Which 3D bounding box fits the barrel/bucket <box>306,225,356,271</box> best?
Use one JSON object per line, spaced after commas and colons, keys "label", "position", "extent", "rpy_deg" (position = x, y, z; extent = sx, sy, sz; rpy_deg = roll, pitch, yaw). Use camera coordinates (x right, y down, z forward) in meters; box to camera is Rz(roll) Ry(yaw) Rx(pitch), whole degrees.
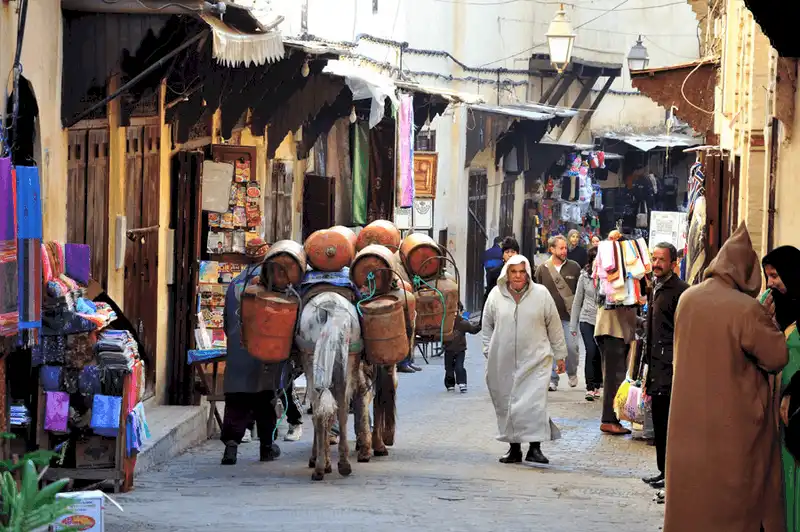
{"label": "barrel/bucket", "position": [-0.676, -0.168, 10.349], "extent": [0.403, 0.441, 0.653], "rpy_deg": [-6, 2, -5]}

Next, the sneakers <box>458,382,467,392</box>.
{"label": "sneakers", "position": [0.948, 1.836, 15.652], "extent": [0.101, 0.160, 0.335], "rpy_deg": [0, 4, 2]}

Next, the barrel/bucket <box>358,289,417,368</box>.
{"label": "barrel/bucket", "position": [-0.182, 0.572, 10.277], "extent": [0.580, 1.014, 0.580], "rpy_deg": [-9, 1, 0]}

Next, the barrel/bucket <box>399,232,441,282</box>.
{"label": "barrel/bucket", "position": [0.193, -0.167, 11.265], "extent": [0.397, 0.471, 0.667], "rpy_deg": [-6, 23, -9]}

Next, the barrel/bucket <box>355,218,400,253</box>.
{"label": "barrel/bucket", "position": [-0.226, -0.330, 11.138], "extent": [0.328, 0.400, 0.398], "rpy_deg": [9, 6, -7]}

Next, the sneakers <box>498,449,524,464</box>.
{"label": "sneakers", "position": [1.181, 2.018, 11.027], "extent": [0.246, 0.287, 0.123], "rpy_deg": [3, -2, -4]}

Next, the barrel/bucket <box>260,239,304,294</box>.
{"label": "barrel/bucket", "position": [-1.132, -0.014, 10.087], "extent": [0.377, 0.452, 0.458], "rpy_deg": [8, 8, 0]}

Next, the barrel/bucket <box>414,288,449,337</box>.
{"label": "barrel/bucket", "position": [0.348, 0.510, 11.291], "extent": [0.427, 0.791, 0.430], "rpy_deg": [0, -2, 0]}

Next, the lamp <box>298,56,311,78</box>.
{"label": "lamp", "position": [-1.296, -2.665, 13.888], "extent": [0.123, 0.121, 0.165], "rpy_deg": [-40, -25, -22]}

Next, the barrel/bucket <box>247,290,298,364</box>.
{"label": "barrel/bucket", "position": [-1.250, 0.559, 9.786], "extent": [0.598, 0.739, 0.454], "rpy_deg": [4, 2, 28]}

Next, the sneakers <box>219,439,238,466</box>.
{"label": "sneakers", "position": [-1.767, 1.927, 10.600], "extent": [0.094, 0.147, 0.312], "rpy_deg": [3, 3, 0]}

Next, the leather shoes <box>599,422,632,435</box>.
{"label": "leather shoes", "position": [2.605, 1.979, 12.537], "extent": [0.349, 0.192, 0.144], "rpy_deg": [0, 4, 16]}

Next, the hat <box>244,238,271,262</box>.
{"label": "hat", "position": [-1.480, -0.155, 10.592], "extent": [0.194, 0.205, 0.232], "rpy_deg": [0, -1, -3]}
